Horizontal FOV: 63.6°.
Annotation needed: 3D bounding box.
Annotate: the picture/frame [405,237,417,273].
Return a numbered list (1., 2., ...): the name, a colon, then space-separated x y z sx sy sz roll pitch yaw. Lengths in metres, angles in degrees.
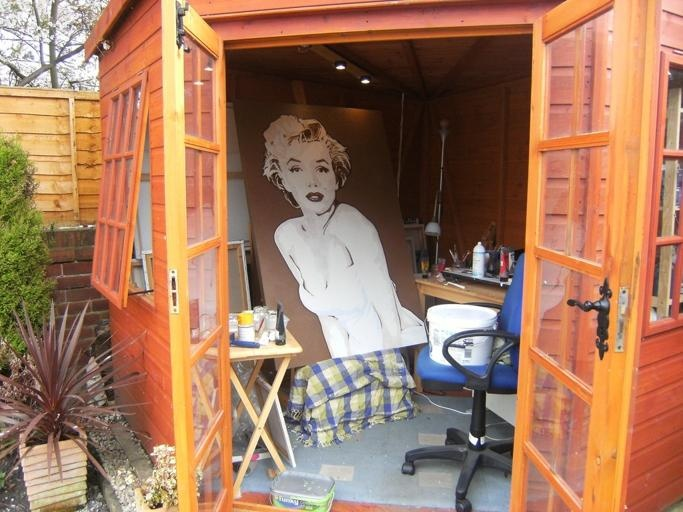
1. picture/frame: 0.640 -0.021 4.997 0.072 0.345 0.216 -8 -11 24

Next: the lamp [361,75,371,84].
1. lamp: 0.199 -1.464 4.576 0.078 0.058 0.083 -1 7 -4

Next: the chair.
1. chair: 0.841 0.715 4.260 1.201 2.089 1.357 1 5 3

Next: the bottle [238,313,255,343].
1. bottle: -0.609 0.446 3.514 0.110 0.174 0.183 -3 15 -11

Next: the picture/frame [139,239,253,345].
1. picture/frame: -0.853 0.219 3.109 0.642 0.782 0.050 -3 -2 -24

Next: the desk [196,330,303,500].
1. desk: -0.640 1.069 3.677 0.714 0.885 0.746 -4 -5 11

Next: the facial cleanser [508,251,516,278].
1. facial cleanser: 1.268 0.048 4.109 0.051 0.191 0.175 -2 -25 20

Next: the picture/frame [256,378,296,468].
1. picture/frame: -0.527 1.071 3.789 0.030 0.531 0.535 -25 -40 0
